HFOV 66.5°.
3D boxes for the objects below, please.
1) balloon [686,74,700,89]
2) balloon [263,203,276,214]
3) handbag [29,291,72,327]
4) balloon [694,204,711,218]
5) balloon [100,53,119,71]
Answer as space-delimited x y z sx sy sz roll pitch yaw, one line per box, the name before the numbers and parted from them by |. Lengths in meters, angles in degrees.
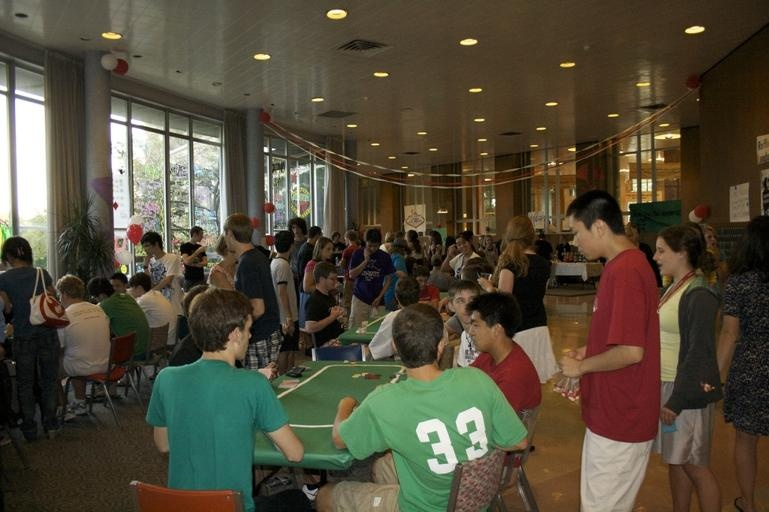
balloon | 5.532 -3.151 10.543 0.220 0.257 0.415 7 13 36
balloon | -2.591 -1.094 13.159 0.251 0.254 0.140 -3 -1 7
handbag | -3.312 0.527 5.782 0.343 0.344 0.155 6 3 -25
balloon | 5.194 -0.739 9.622 0.249 0.188 0.333 -2 22 14
balloon | -4.191 -2.987 8.944 0.220 0.224 0.289 -6 11 -22
